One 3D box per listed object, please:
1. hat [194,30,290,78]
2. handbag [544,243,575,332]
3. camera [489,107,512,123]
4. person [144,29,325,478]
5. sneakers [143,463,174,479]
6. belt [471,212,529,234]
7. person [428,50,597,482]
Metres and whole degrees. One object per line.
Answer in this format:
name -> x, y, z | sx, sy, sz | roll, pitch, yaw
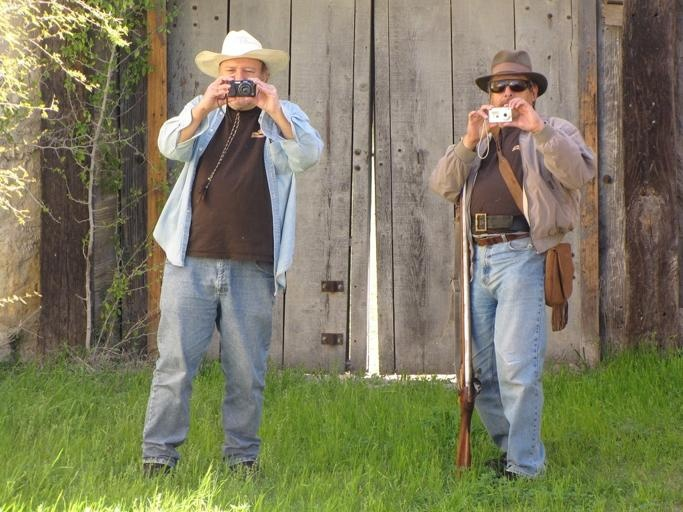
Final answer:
hat -> -0.726, -1.419, 7.831 | 0.590, 0.283, 0.691 | -1, -8, 0
handbag -> 1.501, 0.214, 7.702 | 0.195, 0.583, 0.259 | -3, -5, 14
camera -> 1.074, -0.953, 7.537 | 0.143, 0.106, 0.114 | 0, 7, 3
person -> -0.774, -0.053, 7.613 | 1.130, 2.987, 0.474 | -3, -5, 14
sneakers -> -1.216, 1.425, 7.406 | 0.116, 0.059, 0.107 | 16, -10, -19
belt -> 1.086, -0.217, 7.700 | 0.216, 0.126, 0.182 | -1, -1, 16
person -> 1.194, 0.029, 7.707 | 1.011, 2.952, 0.538 | -3, -5, 13
